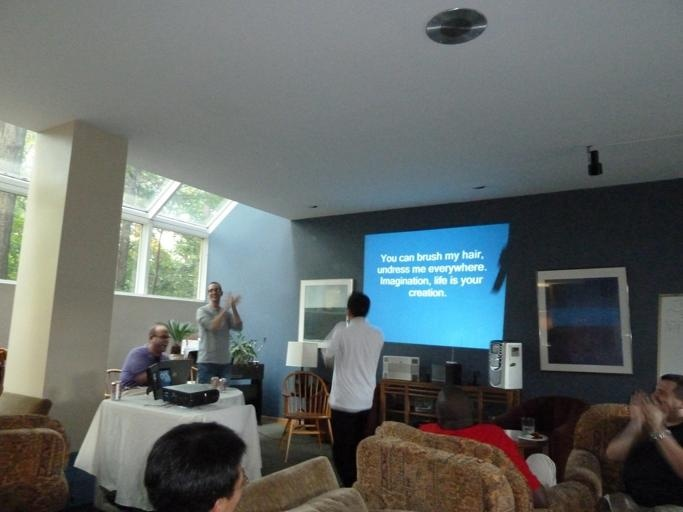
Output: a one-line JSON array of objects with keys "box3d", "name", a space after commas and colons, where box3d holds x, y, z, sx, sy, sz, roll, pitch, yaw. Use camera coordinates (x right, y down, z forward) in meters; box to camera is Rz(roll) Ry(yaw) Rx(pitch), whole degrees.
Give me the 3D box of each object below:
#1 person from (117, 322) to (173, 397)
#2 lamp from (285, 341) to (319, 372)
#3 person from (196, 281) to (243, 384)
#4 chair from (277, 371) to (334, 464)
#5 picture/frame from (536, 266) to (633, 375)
[{"box3d": [-1.778, 1.071, 4.640, 0.384, 0.871, 0.443, 7, -11, -27], "name": "person"}, {"box3d": [-0.553, 1.379, 6.882, 0.370, 0.419, 0.378, 1, -12, -4], "name": "lamp"}, {"box3d": [-1.258, 0.778, 5.125, 0.454, 1.006, 0.494, 6, -9, -20], "name": "person"}, {"box3d": [-0.444, 1.913, 6.179, 0.701, 1.028, 0.696, -12, -18, 39], "name": "chair"}, {"box3d": [2.770, 0.743, 5.804, 0.946, 1.263, 0.043, -5, -32, 29], "name": "picture/frame"}]
